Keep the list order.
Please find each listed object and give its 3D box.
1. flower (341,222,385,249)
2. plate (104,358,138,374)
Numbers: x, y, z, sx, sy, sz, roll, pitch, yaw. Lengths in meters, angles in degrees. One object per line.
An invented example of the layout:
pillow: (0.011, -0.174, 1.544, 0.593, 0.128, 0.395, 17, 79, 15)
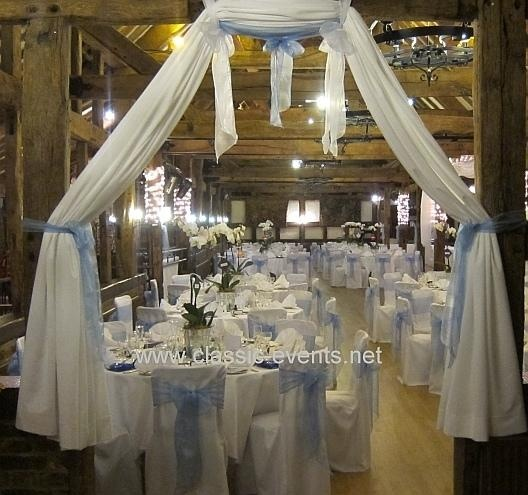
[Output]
flower: (3.786, -0.460, 18.542, 1.177, 1.159, 1.080, 1, -2, -17)
plate: (-0.935, 0.780, 3.182, 0.177, 0.049, 0.208, 3, -3, -19)
